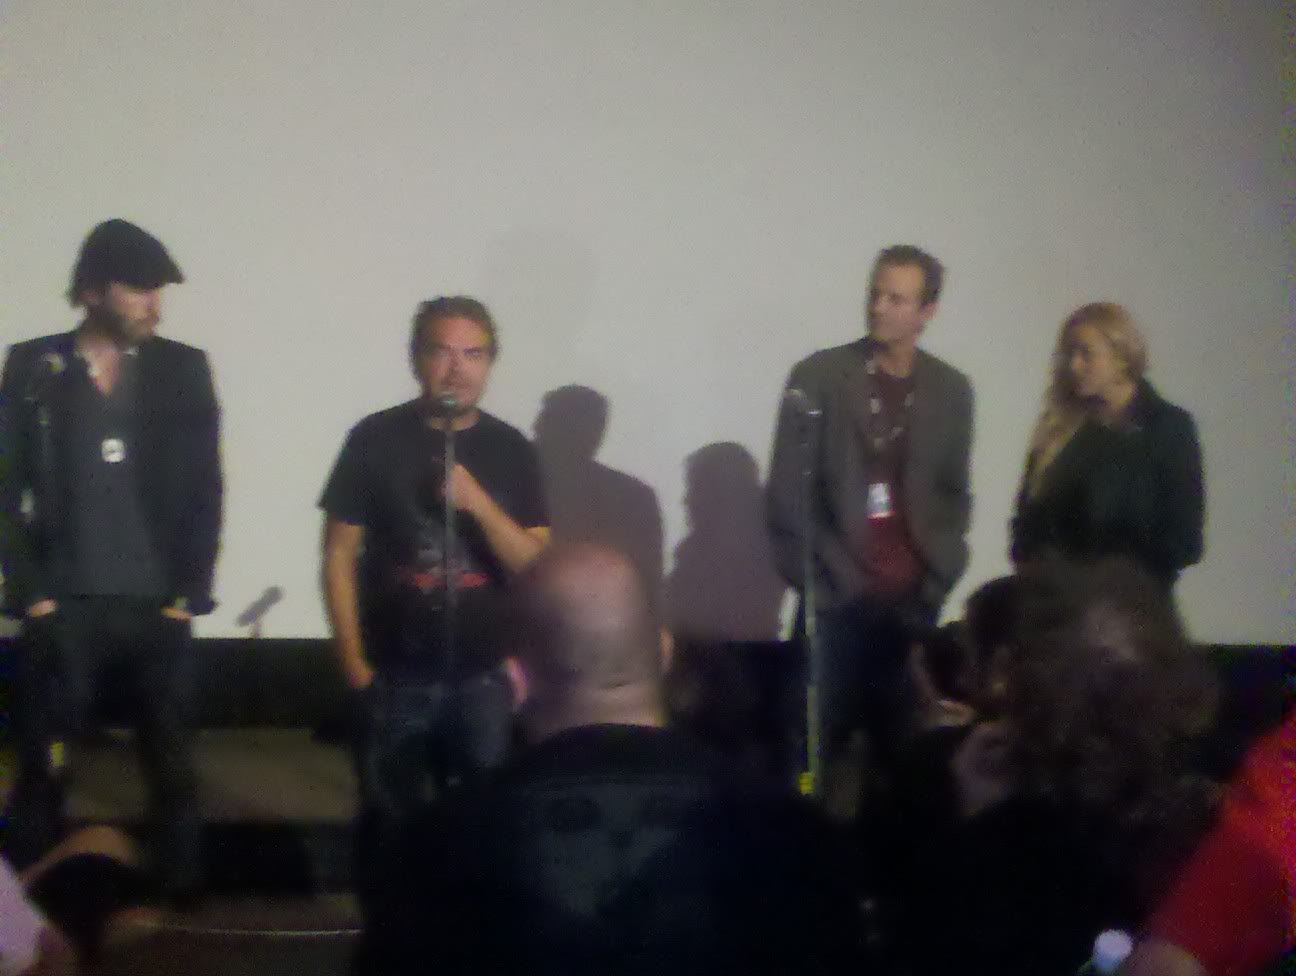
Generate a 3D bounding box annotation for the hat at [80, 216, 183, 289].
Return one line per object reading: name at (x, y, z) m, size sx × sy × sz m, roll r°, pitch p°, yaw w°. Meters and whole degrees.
hat at (-1.086, -0.493, 2.966) m, size 0.182 × 0.120 × 0.140 m, roll -6°, pitch 11°, yaw -11°

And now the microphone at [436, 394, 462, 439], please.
microphone at (-0.419, -0.154, 2.974) m, size 0.045 × 0.076 × 0.018 m, roll 5°, pitch 9°, yaw 1°

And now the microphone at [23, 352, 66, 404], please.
microphone at (-1.273, -0.233, 2.981) m, size 0.064 × 0.107 × 0.028 m, roll 32°, pitch 2°, yaw -6°

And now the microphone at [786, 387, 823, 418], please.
microphone at (0.331, -0.181, 2.991) m, size 0.073 × 0.045 × 0.021 m, roll 33°, pitch -14°, yaw -31°
